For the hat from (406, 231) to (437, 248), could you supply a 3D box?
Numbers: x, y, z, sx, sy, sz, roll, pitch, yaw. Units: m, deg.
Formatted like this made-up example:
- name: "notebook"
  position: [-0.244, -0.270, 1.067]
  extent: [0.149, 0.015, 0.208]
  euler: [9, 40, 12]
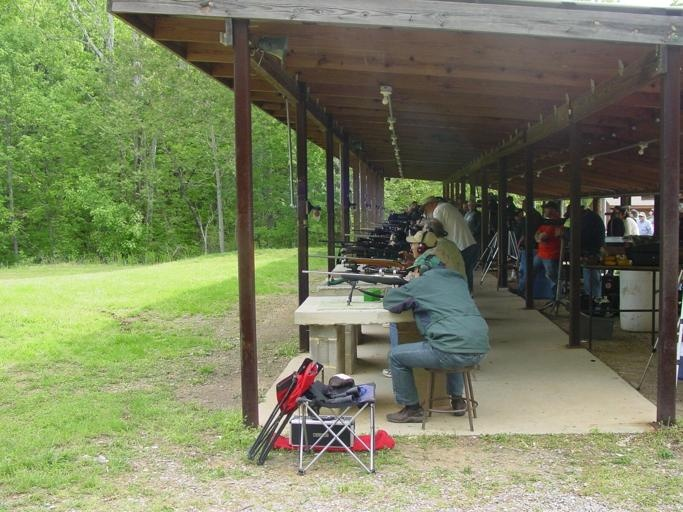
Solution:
- name: "hat"
  position: [0.846, -0.171, 6.716]
  extent: [0.252, 0.115, 0.157]
  euler: [23, 7, 11]

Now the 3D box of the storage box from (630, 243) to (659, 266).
- name: "storage box"
  position: [4.059, -0.021, 8.527]
  extent: [0.360, 0.193, 0.323]
  euler: [-1, 2, -5]

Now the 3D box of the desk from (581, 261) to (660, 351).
- name: "desk"
  position: [4.346, 0.691, 9.312]
  extent: [1.338, 1.275, 1.254]
  euler: [2, 6, 16]

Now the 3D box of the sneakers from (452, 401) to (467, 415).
- name: "sneakers"
  position: [1.208, 1.572, 6.570]
  extent: [0.134, 0.062, 0.175]
  euler: [1, 4, 10]

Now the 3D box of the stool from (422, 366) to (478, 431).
- name: "stool"
  position: [1.156, 1.421, 6.420]
  extent: [0.684, 0.732, 0.649]
  euler: [-2, -12, 3]

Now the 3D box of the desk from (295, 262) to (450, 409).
- name: "desk"
  position: [0.312, 0.842, 6.850]
  extent: [1.612, 0.840, 1.477]
  euler: [1, -1, 4]

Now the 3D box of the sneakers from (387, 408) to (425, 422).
- name: "sneakers"
  position: [0.658, 1.606, 6.515]
  extent: [0.421, 0.159, 0.137]
  euler: [1, -1, 6]

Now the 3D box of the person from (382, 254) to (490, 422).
- name: "person"
  position: [0.927, 0.908, 6.276]
  extent: [0.988, 1.529, 0.447]
  euler: [-2, 9, 1]

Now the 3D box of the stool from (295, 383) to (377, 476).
- name: "stool"
  position: [-0.065, 1.538, 5.840]
  extent: [0.760, 0.561, 0.808]
  euler: [0, -1, 0]

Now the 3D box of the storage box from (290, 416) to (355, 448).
- name: "storage box"
  position: [-0.189, 1.576, 5.634]
  extent: [0.513, 0.188, 0.328]
  euler: [1, -2, 6]

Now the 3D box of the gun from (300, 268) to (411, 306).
- name: "gun"
  position: [0.034, 0.338, 6.725]
  extent: [1.382, 0.342, 0.399]
  euler: [0, 4, -7]
